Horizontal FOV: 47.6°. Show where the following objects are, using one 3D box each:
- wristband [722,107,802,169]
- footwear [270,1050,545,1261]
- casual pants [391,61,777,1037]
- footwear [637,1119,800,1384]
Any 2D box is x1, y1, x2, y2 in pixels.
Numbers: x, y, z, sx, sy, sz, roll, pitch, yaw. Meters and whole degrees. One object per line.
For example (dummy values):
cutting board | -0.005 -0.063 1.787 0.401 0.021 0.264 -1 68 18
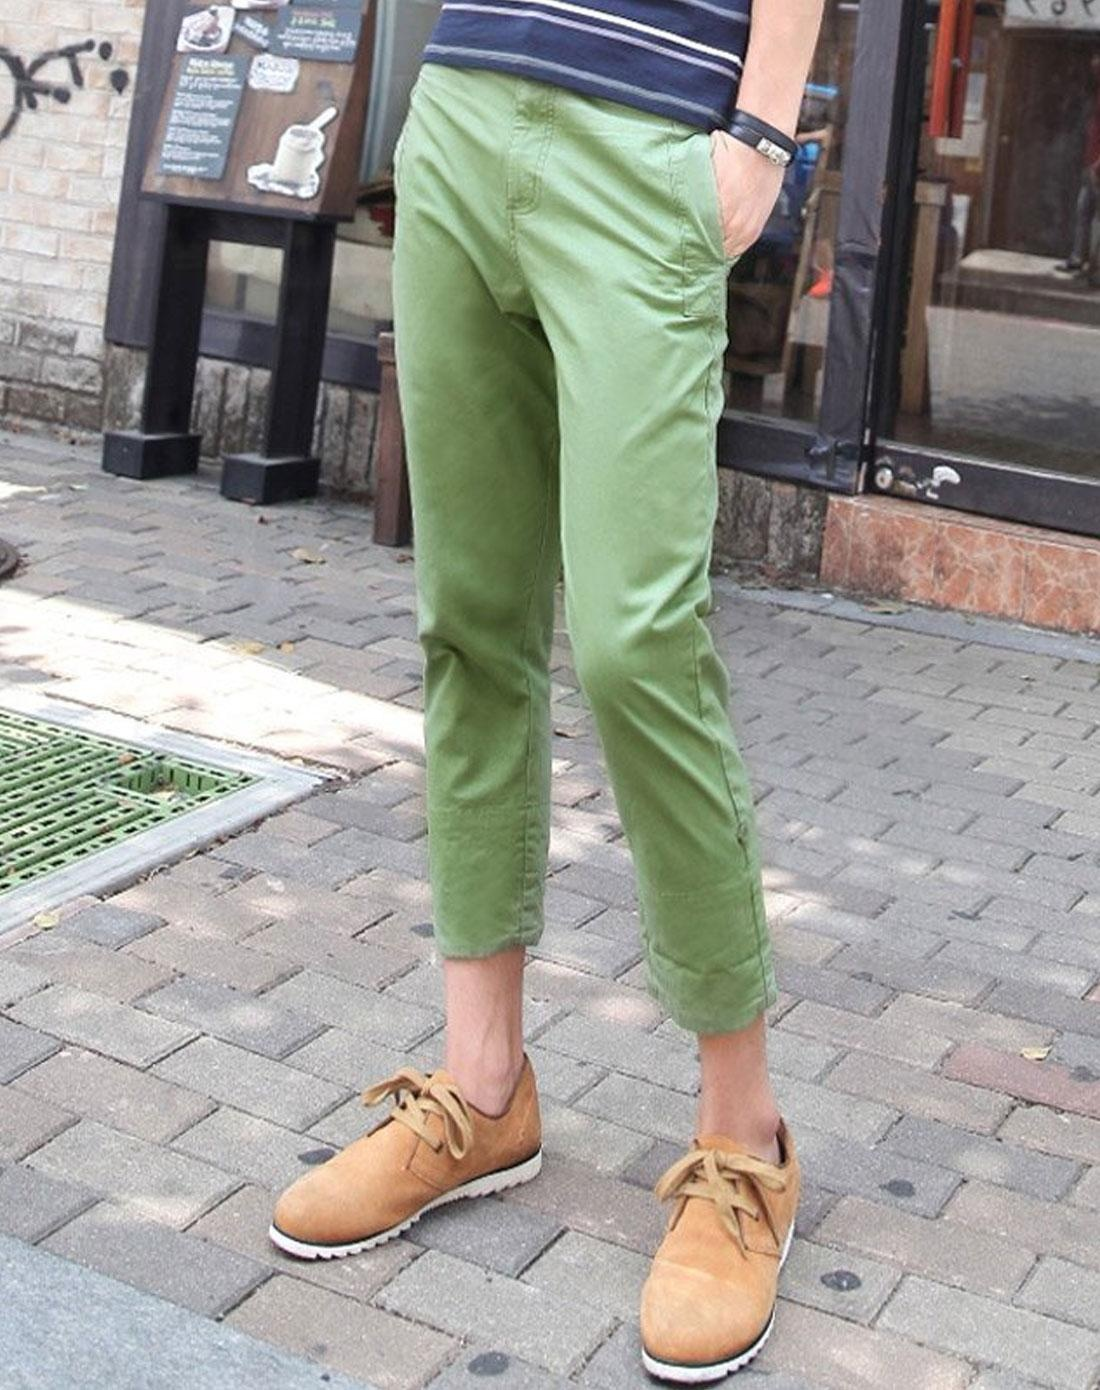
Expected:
wristband | 0.174 -0.473 1.076 0.058 0.019 0.058 25 8 -47
footwear | -0.154 0.514 1.426 0.373 0.135 0.134 -1 4 -43
casual pants | 0.022 -0.120 1.215 0.256 0.919 0.418 -4 15 -42
footwear | 0.179 0.531 1.230 0.092 0.097 0.261 1 21 20
